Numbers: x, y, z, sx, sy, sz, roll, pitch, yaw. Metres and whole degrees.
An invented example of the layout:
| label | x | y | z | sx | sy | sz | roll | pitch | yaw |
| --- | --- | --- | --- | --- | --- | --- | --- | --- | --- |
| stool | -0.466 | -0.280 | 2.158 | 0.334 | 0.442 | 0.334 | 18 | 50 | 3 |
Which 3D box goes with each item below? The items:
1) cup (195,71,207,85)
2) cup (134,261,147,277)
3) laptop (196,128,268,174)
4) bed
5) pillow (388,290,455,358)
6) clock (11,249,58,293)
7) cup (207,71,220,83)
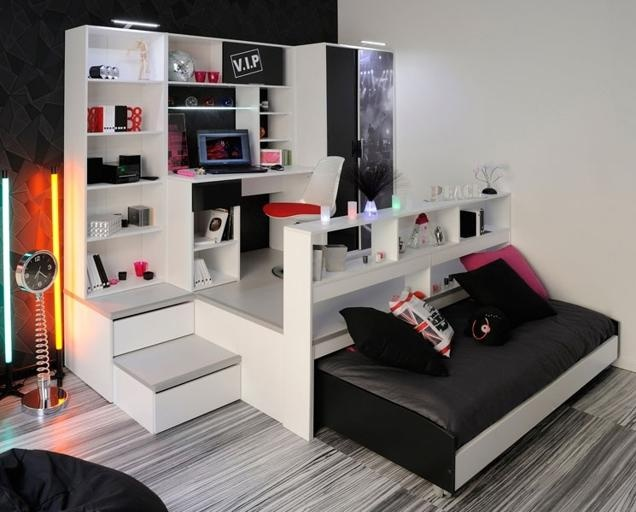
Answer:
| label | x | y | z | sx | sy | sz | roll | pitch | yaw |
| --- | --- | --- | --- | --- | --- | --- | --- | --- | --- |
| cup | -1.030 | -1.575 | 4.277 | 0.104 | 0.086 | 0.100 | 0 | 19 | 0 |
| cup | -1.512 | 0.099 | 4.123 | 0.112 | 0.114 | 0.113 | 1 | 8 | 0 |
| laptop | -0.798 | -0.936 | 4.358 | 0.640 | 0.423 | 0.464 | -9 | 15 | -41 |
| bed | 1.079 | 0.361 | 3.438 | 2.311 | 1.426 | 1.383 | -14 | 15 | -42 |
| pillow | 0.674 | 0.391 | 3.113 | 0.455 | 0.150 | 0.288 | 45 | 25 | 14 |
| clock | -1.927 | 0.095 | 3.290 | 0.082 | 0.313 | 0.305 | 4 | 1 | 25 |
| cup | -0.939 | -1.596 | 4.317 | 0.103 | 0.083 | 0.096 | 0 | 23 | 0 |
